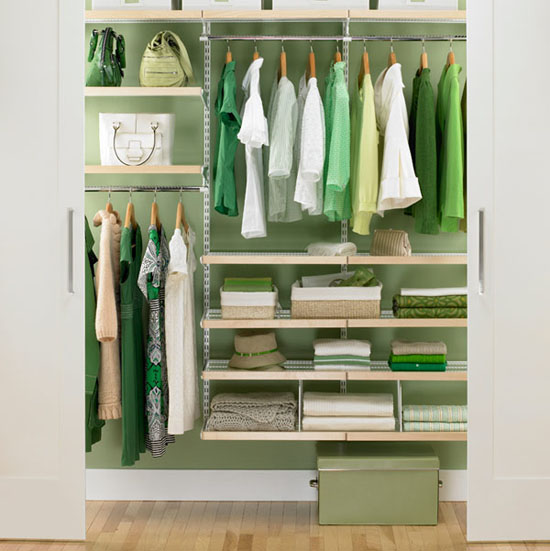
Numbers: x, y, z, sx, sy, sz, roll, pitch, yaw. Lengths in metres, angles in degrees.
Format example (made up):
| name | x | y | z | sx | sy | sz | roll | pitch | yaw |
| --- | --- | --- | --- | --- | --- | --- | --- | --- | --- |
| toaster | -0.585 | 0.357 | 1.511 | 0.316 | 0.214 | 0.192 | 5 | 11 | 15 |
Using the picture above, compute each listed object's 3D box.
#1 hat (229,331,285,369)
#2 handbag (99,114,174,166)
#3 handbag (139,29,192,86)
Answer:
| name | x | y | z | sx | sy | sz | roll | pitch | yaw |
| --- | --- | --- | --- | --- | --- | --- | --- | --- | --- |
| hat | -0.088 | 0.353 | 3.240 | 0.180 | 0.120 | 0.170 | -5 | 2 | 7 |
| handbag | -0.637 | -0.623 | 3.151 | 0.294 | 0.267 | 0.229 | 0 | 8 | -2 |
| handbag | -0.494 | -0.959 | 3.246 | 0.180 | 0.391 | 0.334 | 1 | 19 | 2 |
